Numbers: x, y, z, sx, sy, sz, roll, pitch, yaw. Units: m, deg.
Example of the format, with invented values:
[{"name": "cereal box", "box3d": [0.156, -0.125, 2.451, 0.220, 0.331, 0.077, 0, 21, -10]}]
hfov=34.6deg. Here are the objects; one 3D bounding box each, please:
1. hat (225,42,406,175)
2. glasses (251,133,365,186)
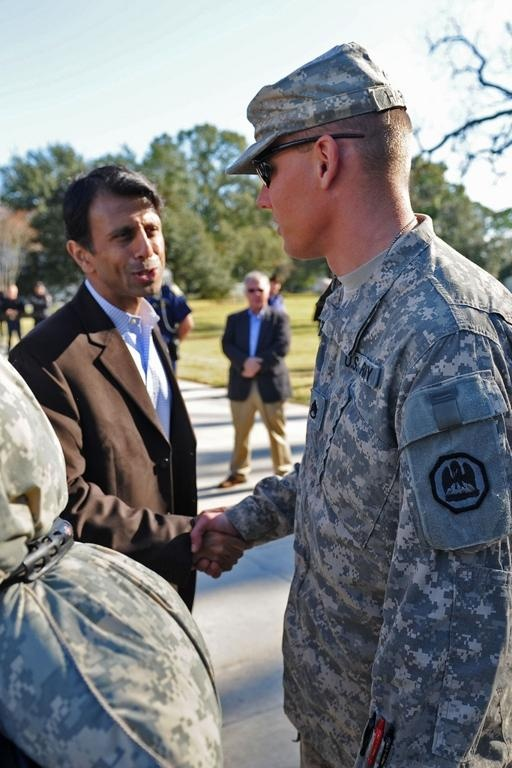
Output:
[{"name": "hat", "box3d": [0.124, -0.643, 1.888, 0.449, 0.173, 0.298, -11, 14, 29]}, {"name": "glasses", "box3d": [0.088, -0.510, 1.816, 0.145, 0.038, 0.112, -18, 1, 3]}]
